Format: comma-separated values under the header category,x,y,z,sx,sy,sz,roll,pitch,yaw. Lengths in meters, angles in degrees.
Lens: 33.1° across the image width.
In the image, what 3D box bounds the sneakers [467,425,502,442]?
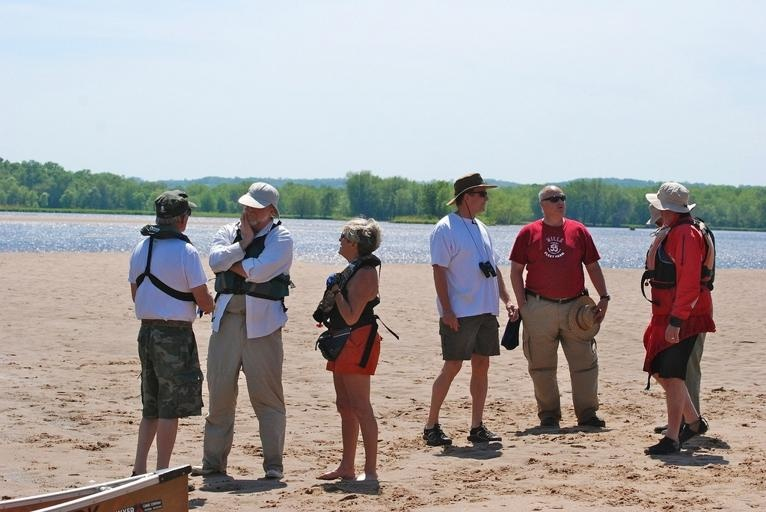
category,x,y,z,sx,sy,sz,roll,pitch,yaw
sneakers,1.449,2.592,18.849,0.569,0.241,0.192,-1,-1,15

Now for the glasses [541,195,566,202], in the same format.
category,x,y,z,sx,sy,sz,roll,pitch,yaw
glasses,2.596,-0.845,19.272,0.429,0.117,0.203,-1,1,-43

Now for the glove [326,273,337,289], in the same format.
category,x,y,z,sx,sy,sz,roll,pitch,yaw
glove,-0.707,0.343,17.797,0.124,0.217,0.285,0,1,-7

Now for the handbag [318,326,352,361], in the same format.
category,x,y,z,sx,sy,sz,roll,pitch,yaw
handbag,-0.638,1.206,17.795,0.419,0.461,0.205,-3,-27,34

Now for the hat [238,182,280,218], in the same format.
category,x,y,z,sx,sy,sz,roll,pitch,yaw
hat,-1.704,-0.786,17.966,0.551,0.268,0.413,11,2,-42

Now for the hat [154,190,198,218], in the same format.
category,x,y,z,sx,sy,sz,roll,pitch,yaw
hat,-2.846,-0.710,17.911,0.397,0.261,0.559,9,21,24

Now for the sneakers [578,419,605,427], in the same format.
category,x,y,z,sx,sy,sz,roll,pitch,yaw
sneakers,3.120,2.478,19.167,0.405,0.161,0.146,-5,-1,14

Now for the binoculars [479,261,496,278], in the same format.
category,x,y,z,sx,sy,sz,roll,pitch,yaw
binoculars,1.539,0.196,18.797,0.063,0.222,0.240,-29,3,37

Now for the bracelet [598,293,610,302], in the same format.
category,x,y,z,sx,sy,sz,roll,pitch,yaw
bracelet,3.314,0.618,19.203,0.179,0.112,0.190,1,-1,17

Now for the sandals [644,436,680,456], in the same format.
category,x,y,z,sx,sy,sz,roll,pitch,yaw
sandals,3.915,2.654,17.999,0.458,0.180,0.229,1,1,-5

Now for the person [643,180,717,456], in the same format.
category,x,y,z,sx,sy,sz,roll,pitch,yaw
person,4.168,0.873,18.369,1.012,3.805,0.715,0,1,-13

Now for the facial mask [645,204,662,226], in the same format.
category,x,y,z,sx,sy,sz,roll,pitch,yaw
facial mask,3.955,-0.598,18.703,0.230,0.152,0.301,-15,-16,-3

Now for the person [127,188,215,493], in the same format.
category,x,y,z,sx,sy,sz,roll,pitch,yaw
person,-2.921,1.026,17.665,1.072,3.816,0.521,0,1,-12

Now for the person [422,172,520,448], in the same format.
category,x,y,z,sx,sy,sz,roll,pitch,yaw
person,1.206,0.773,18.913,1.210,3.932,0.553,0,1,-2

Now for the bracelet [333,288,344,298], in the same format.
category,x,y,z,sx,sy,sz,roll,pitch,yaw
bracelet,-0.617,0.496,17.663,0.114,0.112,0.037,0,1,0

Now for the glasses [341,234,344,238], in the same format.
category,x,y,z,sx,sy,sz,roll,pitch,yaw
glasses,-0.543,-0.271,17.749,0.040,0.039,0.056,7,1,-17

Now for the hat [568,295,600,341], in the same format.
category,x,y,z,sx,sy,sz,roll,pitch,yaw
hat,3.018,0.945,19.142,0.205,0.556,0.546,0,38,50
